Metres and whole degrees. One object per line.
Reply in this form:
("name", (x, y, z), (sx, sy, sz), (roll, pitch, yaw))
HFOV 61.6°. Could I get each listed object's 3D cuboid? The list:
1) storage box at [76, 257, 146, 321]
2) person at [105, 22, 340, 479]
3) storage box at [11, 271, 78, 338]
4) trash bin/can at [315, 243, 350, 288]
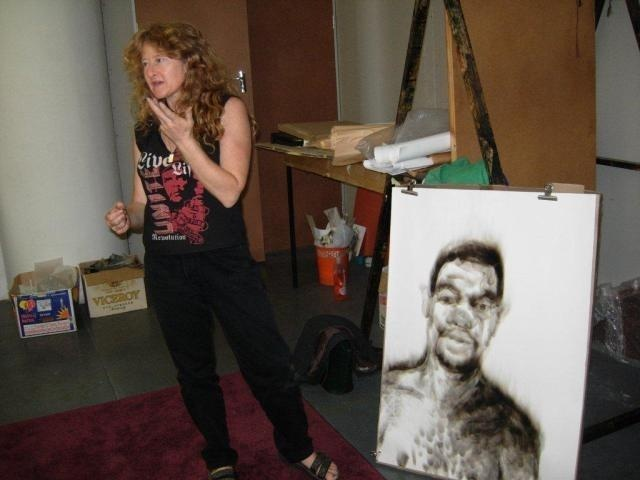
("storage box", (-1.548, 0.385, 4.074), (0.402, 0.322, 0.423), (-7, 13, -24))
("person", (-0.404, 0.116, 2.260), (0.735, 1.975, 0.417), (-3, 11, 0))
("storage box", (-1.983, 0.477, 3.868), (0.446, 0.294, 0.445), (-5, 12, -34))
("trash bin/can", (0.067, 0.211, 4.404), (0.288, 0.336, 0.306), (-3, 9, -21))
